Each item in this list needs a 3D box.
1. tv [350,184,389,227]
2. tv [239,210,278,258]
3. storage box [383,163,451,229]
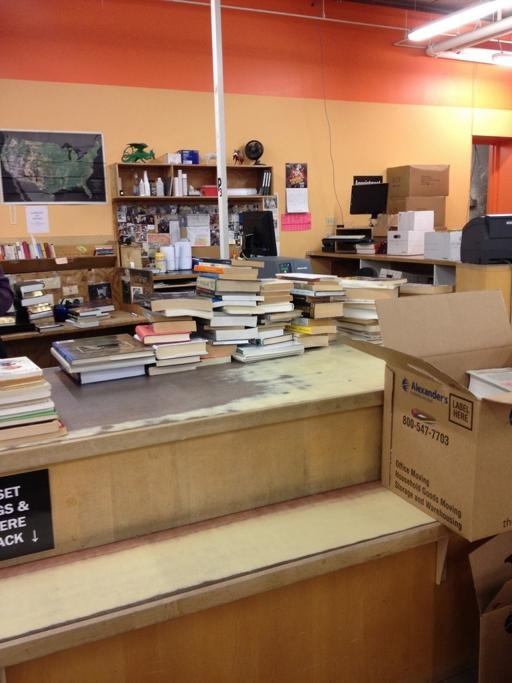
[{"bbox_3d":[1.298,-1.600,6.067,0.170,0.387,0.475,-8,14,-43],"label":"tv"},{"bbox_3d":[0.020,-0.878,4.333,0.265,0.378,0.584,2,10,-1],"label":"tv"},{"bbox_3d":[1.746,-1.592,5.821,0.668,0.703,0.473,5,11,14],"label":"storage box"}]
